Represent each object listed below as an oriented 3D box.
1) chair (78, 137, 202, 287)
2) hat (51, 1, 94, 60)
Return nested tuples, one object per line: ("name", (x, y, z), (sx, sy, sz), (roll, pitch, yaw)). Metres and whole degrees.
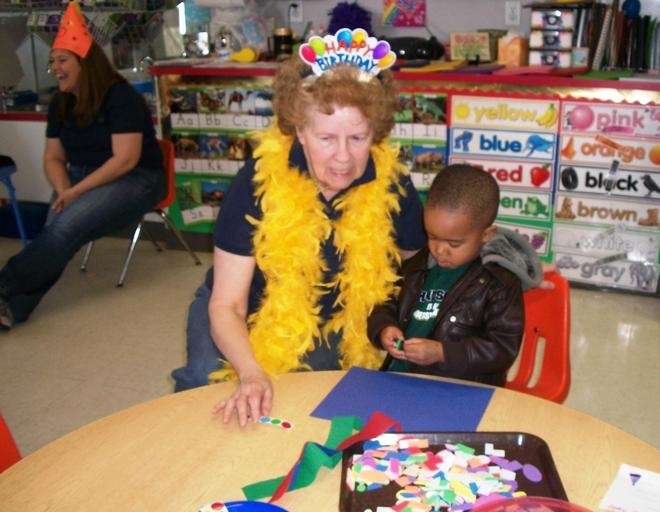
("chair", (-1.311, -0.333, 3.653), (0.792, 0.904, 0.738), (-6, 16, -31))
("hat", (-1.531, -1.337, 3.159), (0.212, 0.327, 0.334), (-6, 19, -16))
